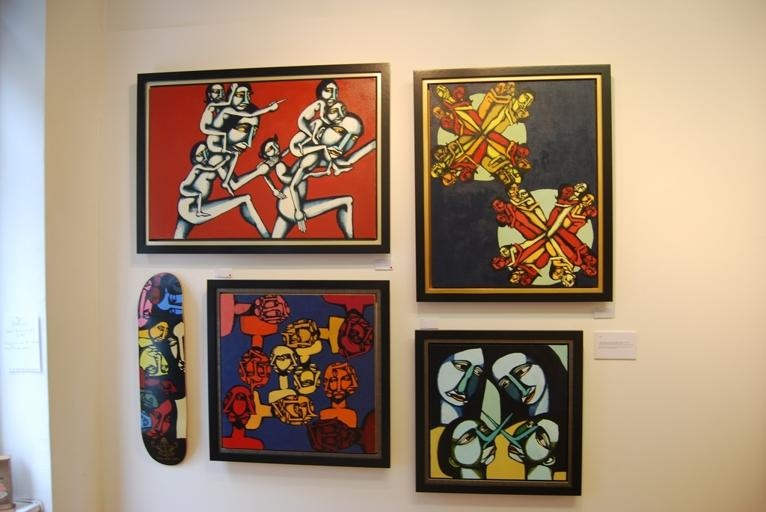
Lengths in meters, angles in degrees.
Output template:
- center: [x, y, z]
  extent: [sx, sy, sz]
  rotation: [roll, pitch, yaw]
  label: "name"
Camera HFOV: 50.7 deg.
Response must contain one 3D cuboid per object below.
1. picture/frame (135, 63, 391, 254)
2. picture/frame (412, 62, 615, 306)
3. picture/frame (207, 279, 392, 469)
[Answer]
- center: [-0.499, -0.445, 3.713]
  extent: [0.852, 0.620, 0.037]
  rotation: [0, -1, 4]
  label: "picture/frame"
- center: [0.619, -0.326, 3.653]
  extent: [1.054, 1.311, 0.084]
  rotation: [-1, -2, 4]
  label: "picture/frame"
- center: [-0.347, 0.537, 3.702]
  extent: [0.839, 0.850, 0.055]
  rotation: [0, 1, 5]
  label: "picture/frame"
